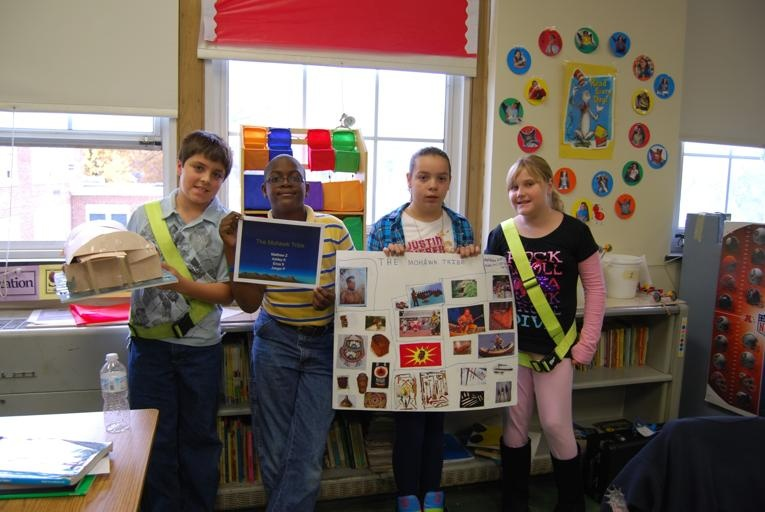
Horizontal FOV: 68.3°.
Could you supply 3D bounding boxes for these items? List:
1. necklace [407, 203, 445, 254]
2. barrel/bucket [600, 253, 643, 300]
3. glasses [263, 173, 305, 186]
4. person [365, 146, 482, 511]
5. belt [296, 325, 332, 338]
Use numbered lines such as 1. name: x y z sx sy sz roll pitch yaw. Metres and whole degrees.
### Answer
1. necklace: 0.232 -0.142 3.055 0.242 0.331 0.179 -1 -5 -12
2. barrel/bucket: 1.618 0.124 3.889 0.300 0.280 0.306 -1 3 0
3. glasses: -0.506 -0.385 2.864 0.215 0.045 0.128 -1 7 2
4. person: 0.233 0.416 3.065 0.574 1.986 0.433 -3 6 -15
5. belt: -0.349 0.388 2.938 0.093 0.035 0.086 0 3 15
